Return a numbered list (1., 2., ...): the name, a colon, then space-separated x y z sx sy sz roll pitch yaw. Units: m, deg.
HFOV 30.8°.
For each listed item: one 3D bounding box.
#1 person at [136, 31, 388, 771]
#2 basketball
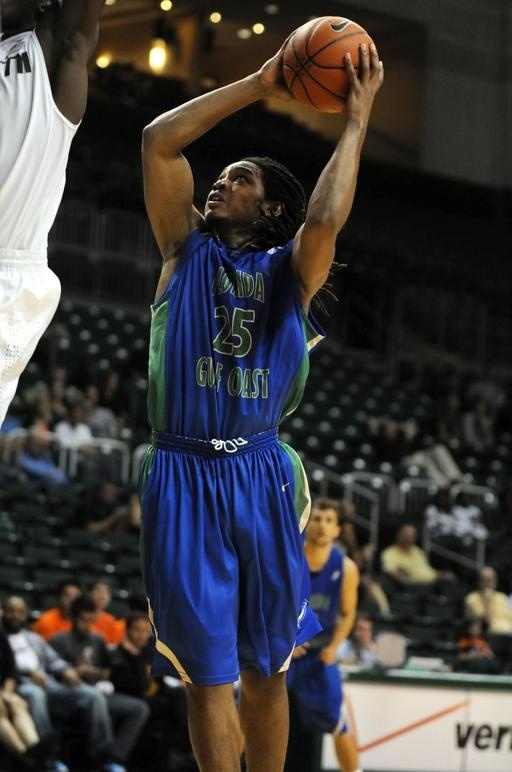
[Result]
1. person: -0.030 0.060 2.515 0.559 2.017 0.590 4 4 -33
2. basketball: 0.160 -0.940 2.589 0.239 0.215 0.248 -1 -40 -5
